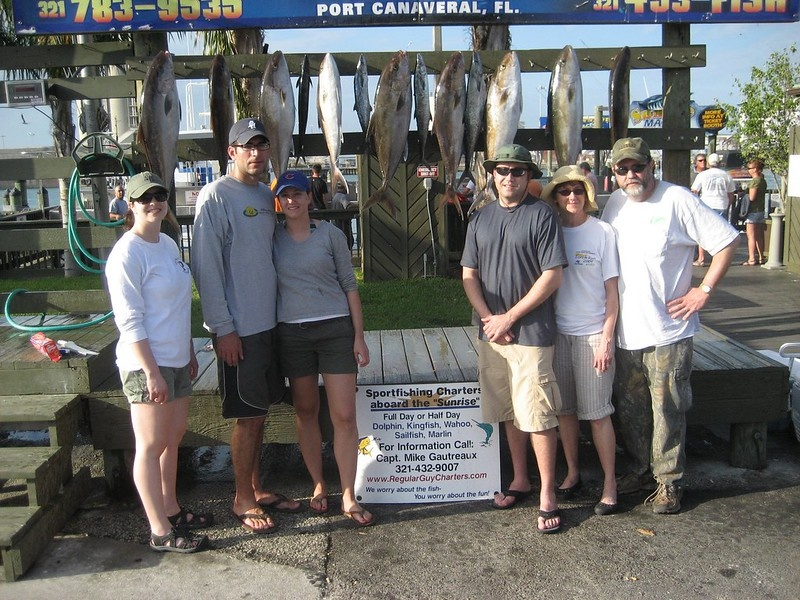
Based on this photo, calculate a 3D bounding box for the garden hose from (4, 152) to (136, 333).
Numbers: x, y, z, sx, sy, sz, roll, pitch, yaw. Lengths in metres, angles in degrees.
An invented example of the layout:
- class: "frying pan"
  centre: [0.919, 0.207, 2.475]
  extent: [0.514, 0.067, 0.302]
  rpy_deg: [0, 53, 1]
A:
- class: "garden hose"
  centre: [-2.481, -0.447, 5.882]
  extent: [0.902, 1.939, 0.840]
  rpy_deg: [7, 18, 10]

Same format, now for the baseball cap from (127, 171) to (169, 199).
- class: "baseball cap"
  centre: [-1.518, -0.664, 4.418]
  extent: [0.150, 0.123, 0.204]
  rpy_deg: [-14, 2, -31]

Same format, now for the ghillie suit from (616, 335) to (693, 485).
- class: "ghillie suit"
  centre: [1.633, 0.637, 4.929]
  extent: [0.317, 1.090, 0.477]
  rpy_deg: [-4, 3, -34]

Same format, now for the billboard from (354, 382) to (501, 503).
- class: "billboard"
  centre: [0.176, 0.924, 5.085]
  extent: [0.986, 0.892, 0.090]
  rpy_deg: [-1, 12, 0]

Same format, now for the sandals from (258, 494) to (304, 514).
- class: "sandals"
  centre: [-0.792, 1.324, 4.903]
  extent: [0.265, 0.073, 0.116]
  rpy_deg: [3, 15, 8]

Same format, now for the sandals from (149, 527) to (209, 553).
- class: "sandals"
  centre: [-1.327, 1.446, 4.489]
  extent: [0.267, 0.130, 0.153]
  rpy_deg: [1, 8, -7]

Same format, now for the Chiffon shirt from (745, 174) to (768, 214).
- class: "Chiffon shirt"
  centre: [6.287, -1.869, 13.367]
  extent: [0.358, 0.730, 0.559]
  rpy_deg: [6, 5, 39]

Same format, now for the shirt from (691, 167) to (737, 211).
- class: "shirt"
  centre: [5.159, -1.816, 12.380]
  extent: [0.656, 0.740, 0.399]
  rpy_deg: [4, -3, 10]

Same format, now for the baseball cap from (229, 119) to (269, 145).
- class: "baseball cap"
  centre: [-0.952, -1.037, 4.642]
  extent: [0.238, 0.163, 0.138]
  rpy_deg: [0, 13, 4]

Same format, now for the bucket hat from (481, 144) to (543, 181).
- class: "bucket hat"
  centre: [0.742, -0.883, 4.713]
  extent: [0.244, 0.132, 0.275]
  rpy_deg: [6, 1, 30]

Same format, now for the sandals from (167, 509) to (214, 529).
- class: "sandals"
  centre: [-1.321, 1.380, 4.749]
  extent: [0.270, 0.126, 0.108]
  rpy_deg: [-1, 12, -8]

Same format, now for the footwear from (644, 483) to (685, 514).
- class: "footwear"
  centre: [1.697, 1.266, 4.812]
  extent: [0.110, 0.136, 0.273]
  rpy_deg: [-2, -3, 25]

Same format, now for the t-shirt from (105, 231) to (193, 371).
- class: "t-shirt"
  centre: [-1.488, -0.023, 4.557]
  extent: [0.375, 0.873, 0.706]
  rpy_deg: [-4, 5, 11]

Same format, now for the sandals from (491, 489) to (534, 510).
- class: "sandals"
  centre: [0.732, 1.291, 4.976]
  extent: [0.255, 0.074, 0.100]
  rpy_deg: [-4, 6, -42]
